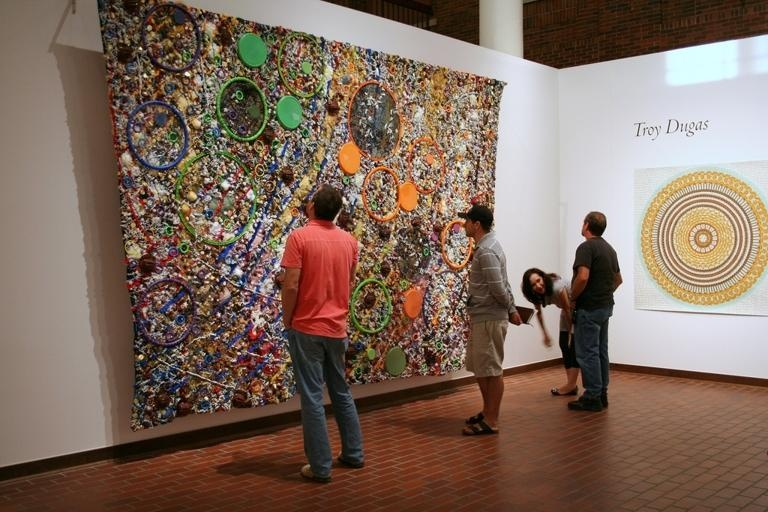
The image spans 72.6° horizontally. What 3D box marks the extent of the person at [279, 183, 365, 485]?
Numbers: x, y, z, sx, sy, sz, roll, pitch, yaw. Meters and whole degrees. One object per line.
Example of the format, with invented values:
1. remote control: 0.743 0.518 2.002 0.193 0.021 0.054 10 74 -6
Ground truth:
1. person: -0.487 0.609 4.215 0.662 2.348 0.313 -2 3 -42

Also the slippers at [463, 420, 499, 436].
1. slippers: 0.945 1.710 5.184 0.275 0.119 0.151 4 -8 -2

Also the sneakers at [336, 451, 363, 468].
1. sneakers: -0.280 1.714 4.424 0.102 0.110 0.242 -2 3 -35

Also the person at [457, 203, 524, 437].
1. person: 1.033 0.636 5.053 0.500 2.242 0.244 0 3 14

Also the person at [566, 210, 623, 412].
1. person: 2.379 0.614 5.960 0.659 2.222 0.374 -2 3 -38

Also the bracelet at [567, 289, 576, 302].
1. bracelet: 2.211 0.469 6.134 0.126 0.127 0.132 -2 -20 1

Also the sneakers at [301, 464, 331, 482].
1. sneakers: -0.531 1.741 4.153 0.105 0.120 0.262 -3 9 -41

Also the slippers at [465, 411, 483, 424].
1. slippers: 0.923 1.656 5.278 0.241 0.102 0.084 -15 9 24

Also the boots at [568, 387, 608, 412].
1. boots: 2.307 1.630 5.909 0.411 0.189 0.218 1 -1 18

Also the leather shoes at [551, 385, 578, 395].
1. leather shoes: 2.246 1.682 6.486 0.308 0.133 0.126 3 -3 9

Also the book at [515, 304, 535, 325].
1. book: 1.828 0.750 6.689 0.063 0.279 0.276 7 -10 -32

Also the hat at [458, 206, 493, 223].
1. hat: 0.909 -0.403 5.107 0.281 0.160 0.187 9 6 20
